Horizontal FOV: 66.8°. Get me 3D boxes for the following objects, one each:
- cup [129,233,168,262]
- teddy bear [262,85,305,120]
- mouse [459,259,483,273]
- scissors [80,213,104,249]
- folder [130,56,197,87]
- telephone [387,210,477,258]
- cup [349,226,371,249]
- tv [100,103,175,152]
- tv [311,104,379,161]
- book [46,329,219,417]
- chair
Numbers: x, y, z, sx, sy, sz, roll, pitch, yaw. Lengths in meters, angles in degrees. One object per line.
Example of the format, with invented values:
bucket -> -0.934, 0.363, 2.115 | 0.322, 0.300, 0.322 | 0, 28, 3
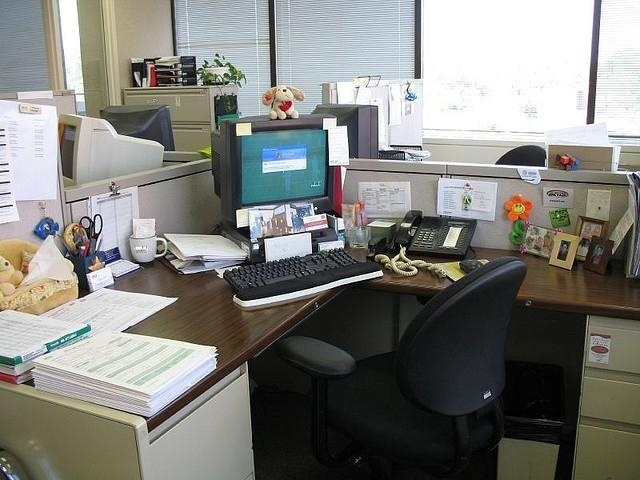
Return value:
cup -> -0.664, 0.026, 1.900 | 0.129, 0.093, 0.087 | 6, 15, 5
teddy bear -> -0.154, -0.559, 1.956 | 0.162, 0.134, 0.103 | -2, 24, -10
mouse -> 0.557, 0.094, 1.812 | 0.063, 0.021, 0.070 | -15, 28, -23
scissors -> -0.810, -0.025, 1.727 | 0.071, 0.117, 0.135 | -6, 16, -18
folder -> -1.663, -1.782, 5.146 | 0.952, 0.320, 0.309 | 10, 18, 35
telephone -> 0.471, -0.020, 2.023 | 0.316, 0.144, 0.205 | 3, 15, 16
cup -> 0.163, -0.014, 2.076 | 0.084, 0.086, 0.086 | -1, 8, 0
tv -> -0.990, -0.586, 2.636 | 0.326, 0.337, 0.340 | 2, 8, 19
tv -> 0.188, -0.531, 2.613 | 0.337, 0.364, 0.339 | 3, 9, 26
book -> -0.465, 0.300, 1.190 | 0.206, 0.045, 0.207 | 3, 10, 16
chair -> 0.288, 0.439, 1.629 | 0.692, 0.844, 0.542 | -12, 23, -40
